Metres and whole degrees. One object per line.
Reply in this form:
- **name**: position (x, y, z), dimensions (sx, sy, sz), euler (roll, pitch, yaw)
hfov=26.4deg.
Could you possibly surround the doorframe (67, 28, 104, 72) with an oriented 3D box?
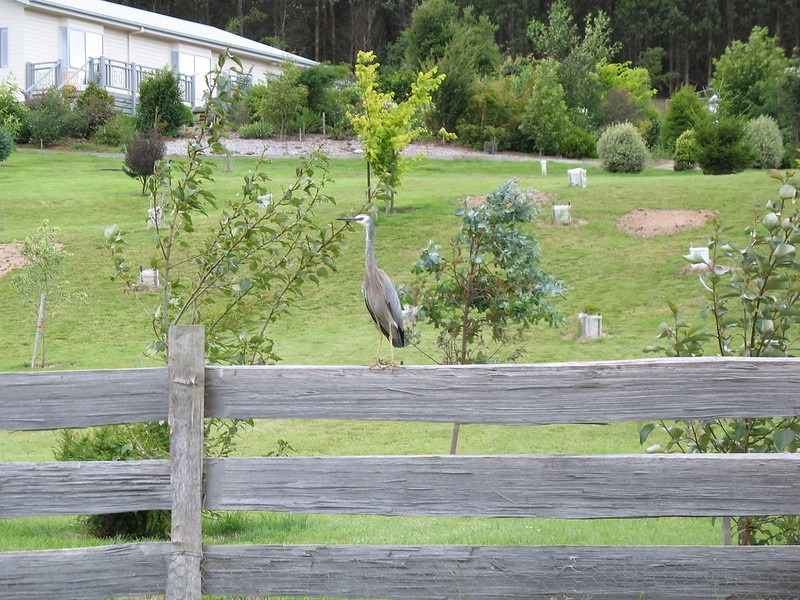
- **doorframe**: position (-18.968, -15.357, 102.071), dimensions (0.209, 2.761, 2.638), euler (5, 6, 36)
